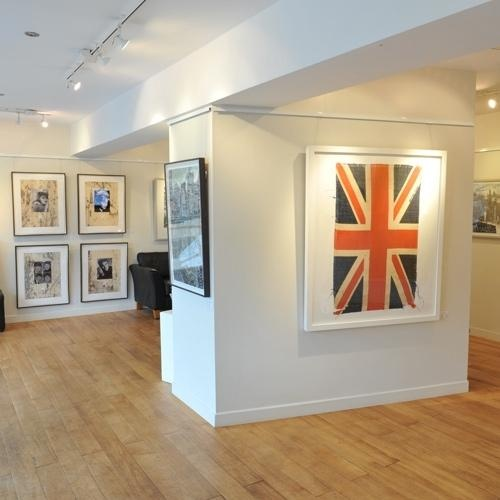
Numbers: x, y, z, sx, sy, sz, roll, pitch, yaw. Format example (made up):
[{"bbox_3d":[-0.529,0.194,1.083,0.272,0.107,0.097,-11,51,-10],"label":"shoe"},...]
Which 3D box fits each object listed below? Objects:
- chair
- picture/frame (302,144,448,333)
[{"bbox_3d":[-1.672,0.648,7.414,0.989,1.106,1.010,-2,4,-17],"label":"chair"},{"bbox_3d":[1.022,-0.143,3.588,1.365,1.923,0.076,2,-2,-19],"label":"picture/frame"}]
